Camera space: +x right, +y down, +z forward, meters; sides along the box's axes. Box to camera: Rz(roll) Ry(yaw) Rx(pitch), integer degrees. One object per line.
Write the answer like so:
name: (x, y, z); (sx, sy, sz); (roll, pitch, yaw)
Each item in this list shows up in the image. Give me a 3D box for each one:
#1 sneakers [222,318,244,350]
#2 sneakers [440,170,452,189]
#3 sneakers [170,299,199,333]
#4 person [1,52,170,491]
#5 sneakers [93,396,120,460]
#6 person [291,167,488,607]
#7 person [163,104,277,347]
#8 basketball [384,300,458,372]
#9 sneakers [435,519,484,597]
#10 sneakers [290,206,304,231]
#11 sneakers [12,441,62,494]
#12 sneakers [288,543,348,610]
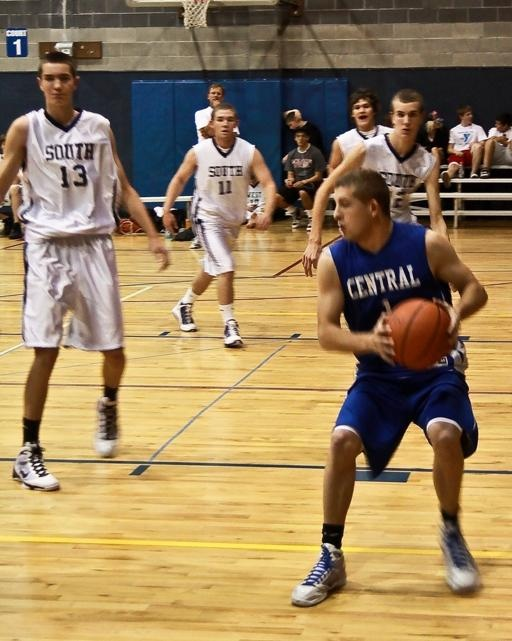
sneakers: (-0.169, 0.092, 5.299); (0.135, 0.196, 0.172); (-2, 9, -3)
sneakers: (3.270, -2.416, 12.399); (0.151, 0.355, 0.146); (0, 35, 20)
sneakers: (-0.574, -0.030, 5.834); (0.123, 0.149, 0.342); (-15, 50, -39)
person: (-0.719, -0.220, 2.833); (0.371, 1.638, 0.679); (4, 11, 31)
sneakers: (-0.624, 0.455, 3.038); (0.097, 0.250, 0.119); (-2, -3, -11)
person: (0.361, 0.142, 1.854); (0.431, 1.056, 0.589); (1, 10, 16)
person: (-0.285, -0.737, 5.512); (0.839, 1.788, 0.890); (-4, 9, -12)
basketball: (0.376, 0.014, 1.734); (0.183, 0.180, 0.167); (15, 11, 7)
sneakers: (0.498, 0.594, 1.794); (0.073, 0.076, 0.192); (-9, 23, 8)
sneakers: (0.757, -1.892, 13.138); (0.177, 0.459, 0.234); (0, -2, 8)
sneakers: (-0.774, 0.562, 2.693); (0.107, 0.133, 0.265); (5, 2, -43)
sneakers: (0.169, 0.623, 1.743); (0.079, 0.105, 0.199); (1, 1, 34)
